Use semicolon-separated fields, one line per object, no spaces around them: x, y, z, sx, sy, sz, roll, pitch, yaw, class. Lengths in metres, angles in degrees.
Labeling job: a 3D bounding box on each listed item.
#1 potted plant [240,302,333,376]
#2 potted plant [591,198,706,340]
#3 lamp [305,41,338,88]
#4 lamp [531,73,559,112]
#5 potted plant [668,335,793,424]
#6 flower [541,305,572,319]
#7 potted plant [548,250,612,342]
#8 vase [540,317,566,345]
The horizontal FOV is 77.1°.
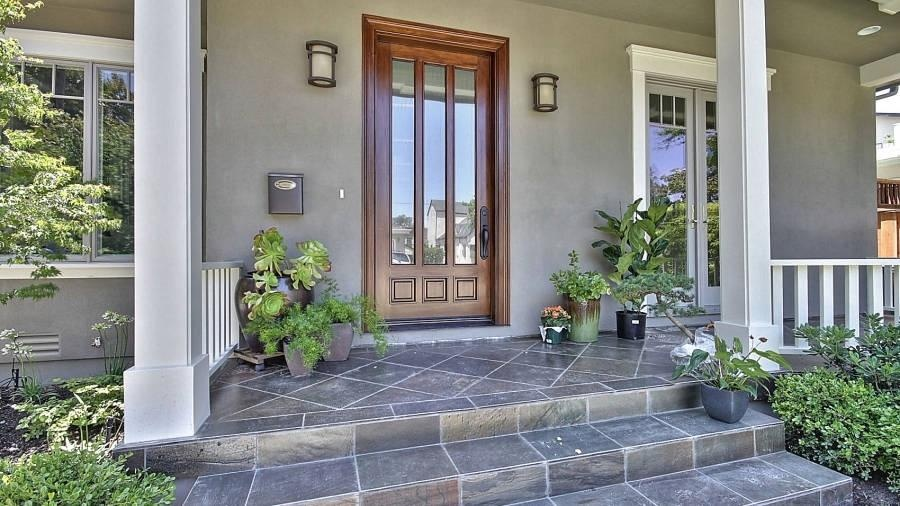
-1.718;0.865;6.057;0.787;0.531;0.797;1;-2;-14;potted plant
2.513;0.118;6.927;1.233;1.604;1.417;-3;2;-8;potted plant
-1.539;-2.187;6.594;0.430;0.407;0.372;-3;12;-25;lamp
1.193;-2.030;7.169;0.348;0.389;0.365;-21;25;-33;lamp
2.745;1.193;5.681;1.031;0.801;0.750;-2;2;11;potted plant
1.312;0.721;6.898;0.217;0.104;0.201;1;1;1;flower
1.625;0.521;7.020;0.487;1.090;0.617;-4;3;-32;potted plant
1.239;0.926;6.827;0.356;0.285;0.307;2;-5;-16;vase
